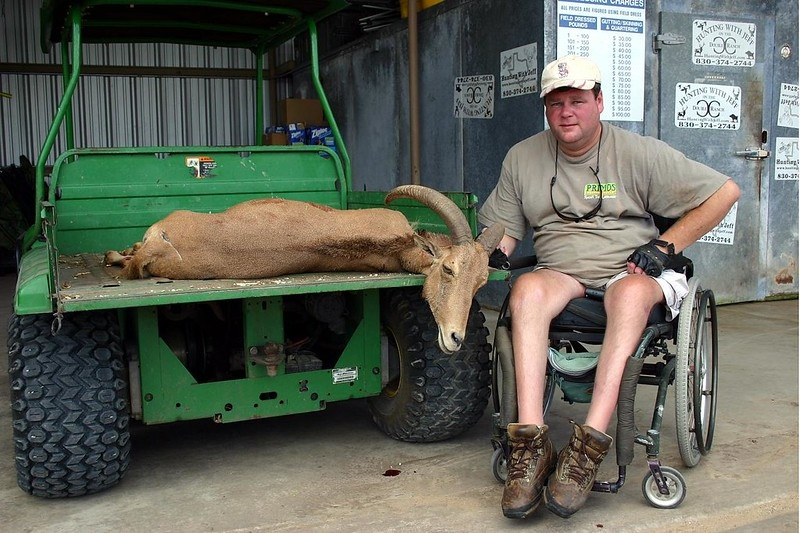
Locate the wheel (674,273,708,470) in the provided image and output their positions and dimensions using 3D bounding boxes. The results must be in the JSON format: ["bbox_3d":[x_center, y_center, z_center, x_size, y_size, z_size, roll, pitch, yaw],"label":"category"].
[{"bbox_3d":[1.697,0.624,3.889,0.250,1.199,0.273,0,-4,0],"label":"wheel"}]

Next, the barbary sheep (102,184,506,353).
[{"bbox_3d":[-0.615,0.047,4.127,1.906,0.502,1.044,-4,11,-12],"label":"barbary sheep"}]

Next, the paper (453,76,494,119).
[{"bbox_3d":[0.866,-2.032,7.894,0.692,0.493,0.008,-13,22,-38],"label":"paper"}]

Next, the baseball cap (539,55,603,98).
[{"bbox_3d":[1.047,-1.182,4.081,0.320,0.238,0.234,-7,14,-26],"label":"baseball cap"}]

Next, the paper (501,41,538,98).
[{"bbox_3d":[1.294,-2.140,7.157,0.035,0.571,0.652,-7,9,-24],"label":"paper"}]

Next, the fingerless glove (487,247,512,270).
[{"bbox_3d":[0.607,-0.047,4.116,0.122,0.058,0.156,5,8,8],"label":"fingerless glove"}]

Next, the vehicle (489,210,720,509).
[{"bbox_3d":[1.278,0.560,4.307,1.387,1.723,1.409,-2,-1,5],"label":"vehicle"}]
